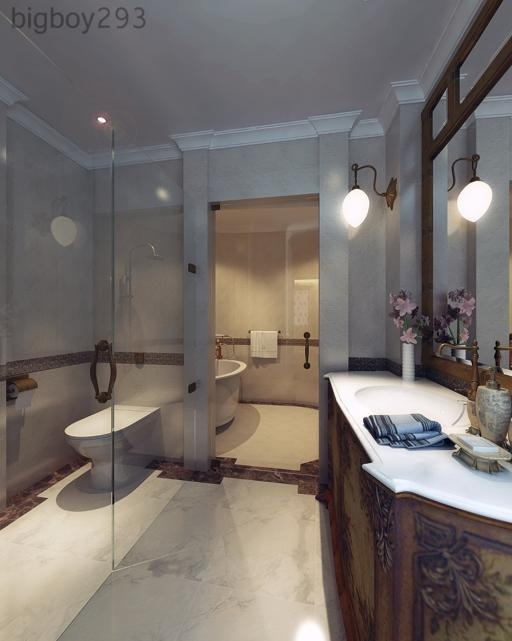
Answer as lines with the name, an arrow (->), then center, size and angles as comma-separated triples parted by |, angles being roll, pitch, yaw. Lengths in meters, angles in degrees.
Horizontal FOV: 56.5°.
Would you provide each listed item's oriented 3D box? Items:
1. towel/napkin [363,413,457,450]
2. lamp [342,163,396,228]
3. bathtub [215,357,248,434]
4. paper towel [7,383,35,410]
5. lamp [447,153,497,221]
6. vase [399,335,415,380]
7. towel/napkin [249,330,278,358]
towel/napkin -> 0.473, 0.342, 1.495 | 0.231, 0.058, 0.190 | -1, 8, -4
lamp -> 0.609, -0.677, 2.595 | 0.241, 0.387, 0.140 | 4, 0, 25
bathtub -> -0.231, 0.611, 3.880 | 0.315, 0.323, 0.821 | 0, -1, 3
paper towel -> -0.810, 0.259, 1.623 | 0.043, 0.092, 0.088 | 8, 1, 14
lamp -> 0.829, -0.532, 1.849 | 0.138, 0.103, 0.266 | -9, -36, 19
vase -> 0.754, 0.190, 2.352 | 0.067, 0.214, 0.070 | 3, 8, 26
towel/napkin -> 0.092, 0.241, 4.725 | 0.227, 0.258, 0.034 | 0, -3, 16
